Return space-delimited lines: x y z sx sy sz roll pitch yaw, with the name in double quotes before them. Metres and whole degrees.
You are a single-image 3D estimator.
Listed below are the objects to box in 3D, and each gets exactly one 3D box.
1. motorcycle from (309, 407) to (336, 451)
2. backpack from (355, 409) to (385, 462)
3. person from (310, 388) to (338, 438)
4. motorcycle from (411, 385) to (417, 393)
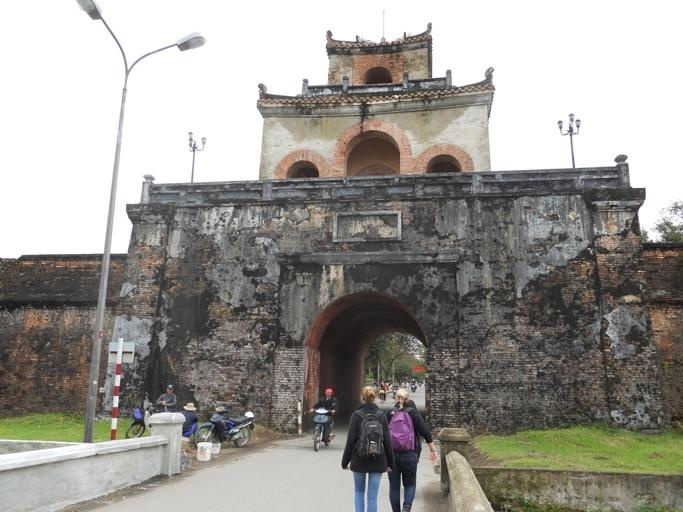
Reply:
"motorcycle" -0.580 5.017 16.754 0.479 0.688 1.179 -7 -36 10
"backpack" 0.516 3.170 10.299 0.452 0.743 0.427 6 -10 -29
"person" -0.594 4.748 17.056 0.814 0.993 1.578 3 0 1
"motorcycle" 6.748 12.410 54.450 0.520 0.601 1.086 -3 -17 5
